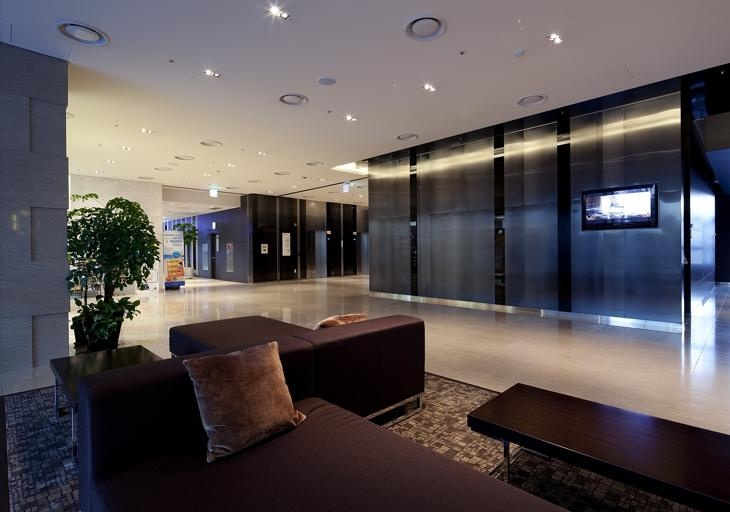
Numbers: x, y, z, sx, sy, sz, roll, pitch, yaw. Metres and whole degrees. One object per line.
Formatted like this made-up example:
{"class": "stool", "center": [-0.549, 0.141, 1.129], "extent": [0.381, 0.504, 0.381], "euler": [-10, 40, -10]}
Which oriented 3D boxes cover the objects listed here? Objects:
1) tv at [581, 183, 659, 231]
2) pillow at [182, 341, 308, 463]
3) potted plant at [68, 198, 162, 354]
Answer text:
{"class": "tv", "center": [4.954, -0.955, 8.970], "extent": [1.008, 0.696, 0.102], "euler": [1, 1, 39]}
{"class": "pillow", "center": [-1.060, 1.253, 4.204], "extent": [0.539, 0.787, 0.976], "euler": [8, 12, 42]}
{"class": "potted plant", "center": [-3.788, 0.265, 6.982], "extent": [1.320, 1.799, 0.656], "euler": [-4, 3, -13]}
